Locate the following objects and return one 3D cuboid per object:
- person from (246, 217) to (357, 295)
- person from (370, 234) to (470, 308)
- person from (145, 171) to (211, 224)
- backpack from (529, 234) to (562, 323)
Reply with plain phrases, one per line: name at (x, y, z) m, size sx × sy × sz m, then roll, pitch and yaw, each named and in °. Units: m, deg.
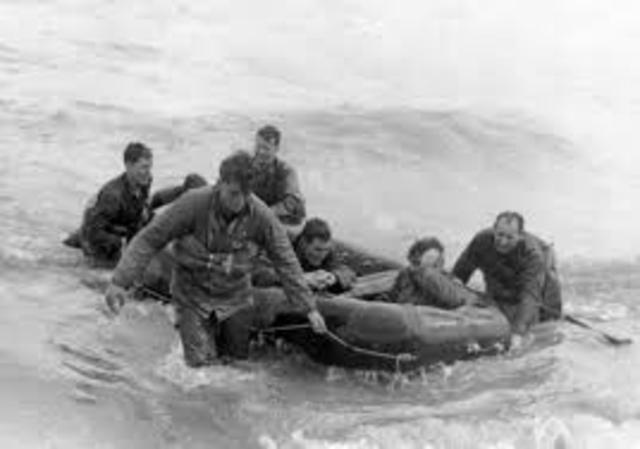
person at (-0.356, 0.366, 10.567) m, size 1.169 × 0.903 × 1.597 m, roll 4°, pitch 2°, yaw -40°
person at (1.226, 0.500, 10.376) m, size 0.996 × 0.735 × 1.091 m, roll 3°, pitch 7°, yaw 45°
person at (-2.068, -0.450, 11.943) m, size 0.684 × 0.312 × 0.893 m, roll -7°, pitch 14°, yaw 6°
backpack at (3.049, 0.741, 11.388) m, size 0.298 × 0.977 × 0.713 m, roll 5°, pitch -5°, yaw -26°
